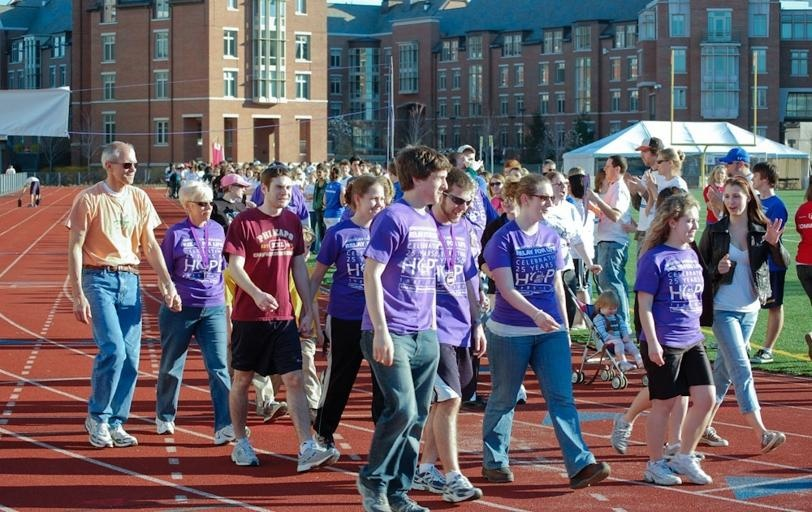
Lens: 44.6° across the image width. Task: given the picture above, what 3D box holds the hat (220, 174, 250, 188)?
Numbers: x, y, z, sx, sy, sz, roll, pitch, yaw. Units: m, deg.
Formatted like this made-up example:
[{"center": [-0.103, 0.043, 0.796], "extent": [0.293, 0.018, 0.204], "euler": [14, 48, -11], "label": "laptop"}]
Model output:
[{"center": [-2.295, -1.008, 13.352], "extent": [0.336, 0.132, 0.218], "euler": [1, 3, -27], "label": "hat"}]

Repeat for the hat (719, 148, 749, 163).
[{"center": [4.828, -1.461, 14.458], "extent": [0.493, 0.270, 0.347], "euler": [-1, 6, 9], "label": "hat"}]

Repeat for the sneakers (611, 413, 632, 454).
[{"center": [2.424, 1.986, 11.125], "extent": [0.170, 0.496, 0.209], "euler": [-6, 8, -40], "label": "sneakers"}]

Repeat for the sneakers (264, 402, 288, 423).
[{"center": [-1.608, 1.889, 12.136], "extent": [0.380, 0.164, 0.164], "euler": [-33, -14, 29], "label": "sneakers"}]

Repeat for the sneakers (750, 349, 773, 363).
[{"center": [5.236, 1.481, 14.609], "extent": [0.172, 0.164, 0.386], "euler": [-1, 1, -11], "label": "sneakers"}]

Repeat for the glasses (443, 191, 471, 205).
[{"center": [0.503, -0.584, 10.066], "extent": [0.170, 0.053, 0.179], "euler": [15, 9, -30], "label": "glasses"}]

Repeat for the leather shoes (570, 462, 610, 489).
[{"center": [1.745, 2.184, 9.806], "extent": [0.492, 0.172, 0.211], "euler": [-33, -36, 32], "label": "leather shoes"}]

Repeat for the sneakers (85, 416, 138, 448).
[{"center": [-3.337, 1.996, 11.195], "extent": [0.569, 0.245, 0.301], "euler": [1, -3, 36], "label": "sneakers"}]
